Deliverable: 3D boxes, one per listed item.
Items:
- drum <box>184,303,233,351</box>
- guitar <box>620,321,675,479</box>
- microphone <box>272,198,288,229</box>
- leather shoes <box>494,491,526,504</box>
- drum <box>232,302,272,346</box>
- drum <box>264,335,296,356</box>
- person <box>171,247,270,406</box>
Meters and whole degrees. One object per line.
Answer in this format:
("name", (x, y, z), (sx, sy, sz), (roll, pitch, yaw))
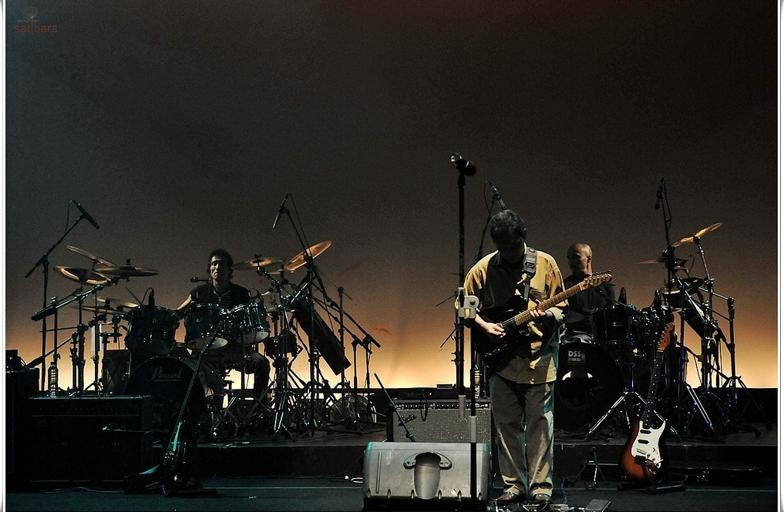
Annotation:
("drum", (-2.217, 0.775, 10.218), (0.481, 0.387, 0.485), (-13, -2, 0))
("guitar", (2.503, 1.412, 8.832), (0.567, 1.531, 0.208), (-3, -17, 12))
("microphone", (-1.373, -0.515, 10.964), (0.076, 0.443, 0.097), (25, 21, 8))
("leather shoes", (1.047, 2.152, 8.027), (0.244, 0.115, 0.100), (4, -7, -9))
("drum", (-1.547, 0.729, 10.272), (0.378, 0.367, 0.361), (-5, -11, -42))
("drum", (-1.272, 1.032, 10.288), (0.252, 0.240, 0.503), (14, -21, -37))
("person", (-2.000, 0.855, 10.474), (1.364, 2.073, 1.125), (-2, -31, -18))
